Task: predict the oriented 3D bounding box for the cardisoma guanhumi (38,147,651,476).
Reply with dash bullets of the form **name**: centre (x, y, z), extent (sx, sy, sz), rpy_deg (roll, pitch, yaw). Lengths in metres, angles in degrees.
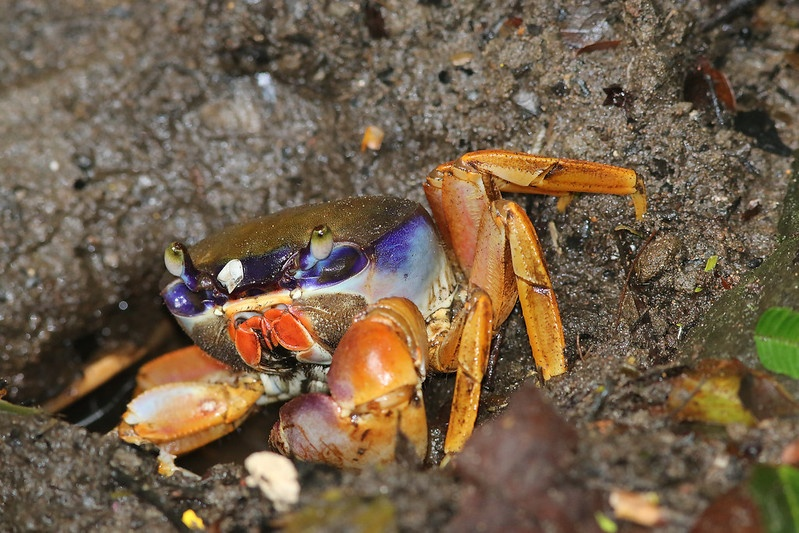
- **cardisoma guanhumi**: centre (-0.167, 0.266, 3.434), extent (2.118, 1.092, 1.073), rpy_deg (-17, 76, -3)
